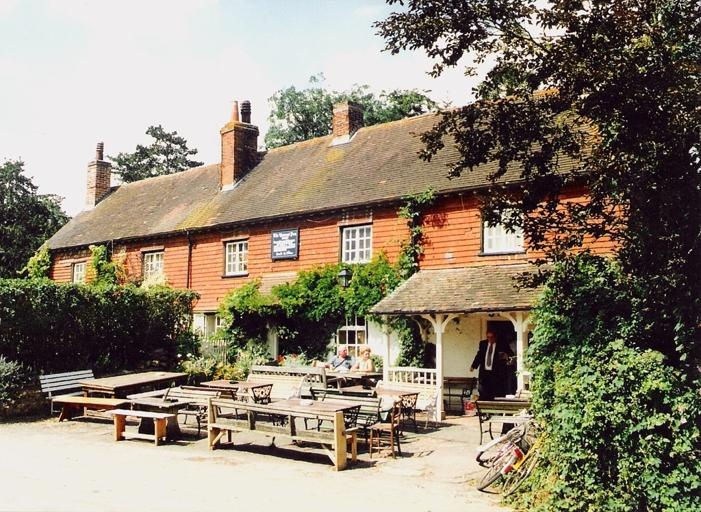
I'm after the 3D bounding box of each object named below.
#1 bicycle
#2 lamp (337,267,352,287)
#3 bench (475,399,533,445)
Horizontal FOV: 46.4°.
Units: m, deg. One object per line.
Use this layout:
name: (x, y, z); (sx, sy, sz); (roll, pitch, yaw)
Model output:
bicycle: (2.876, 3.584, 14.557); (1.065, 1.307, 0.786); (-2, -8, 14)
lamp: (-0.139, 0.663, 25.209); (0.448, 0.603, 0.708); (0, -9, -1)
bench: (3.017, 3.234, 15.885); (1.268, 0.948, 0.555); (-3, 2, 40)
